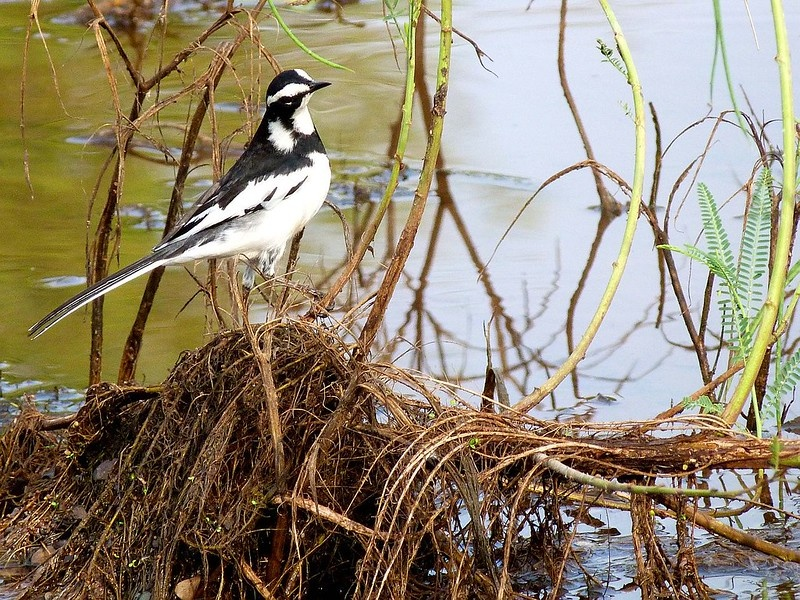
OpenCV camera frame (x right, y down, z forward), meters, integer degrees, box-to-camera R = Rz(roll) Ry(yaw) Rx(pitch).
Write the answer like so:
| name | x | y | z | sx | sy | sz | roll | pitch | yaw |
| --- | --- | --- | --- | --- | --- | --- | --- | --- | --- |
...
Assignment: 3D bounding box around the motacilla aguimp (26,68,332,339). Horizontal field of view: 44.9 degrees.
| name | x | y | z | sx | sy | sz | roll | pitch | yaw |
| --- | --- | --- | --- | --- | --- | --- | --- | --- | --- |
| motacilla aguimp | -0.853 | -0.551 | 4.839 | 0.989 | 1.256 | 0.389 | 1 | -22 | 0 |
